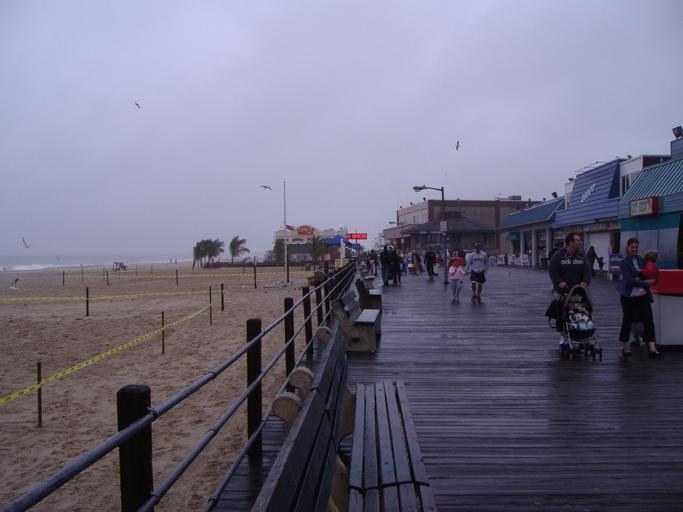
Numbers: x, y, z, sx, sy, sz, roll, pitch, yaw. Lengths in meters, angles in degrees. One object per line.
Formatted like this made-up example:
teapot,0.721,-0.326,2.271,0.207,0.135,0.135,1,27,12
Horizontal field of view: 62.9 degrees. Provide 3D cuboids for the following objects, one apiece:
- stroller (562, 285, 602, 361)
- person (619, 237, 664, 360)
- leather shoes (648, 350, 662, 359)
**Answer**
stroller,3.725,0.942,8.724,0.571,1.137,0.791,2,-8,1
person,4.682,0.593,8.841,0.540,1.782,0.600,-4,7,29
leather shoes,4.881,1.458,8.647,0.155,0.098,0.250,-5,7,29
